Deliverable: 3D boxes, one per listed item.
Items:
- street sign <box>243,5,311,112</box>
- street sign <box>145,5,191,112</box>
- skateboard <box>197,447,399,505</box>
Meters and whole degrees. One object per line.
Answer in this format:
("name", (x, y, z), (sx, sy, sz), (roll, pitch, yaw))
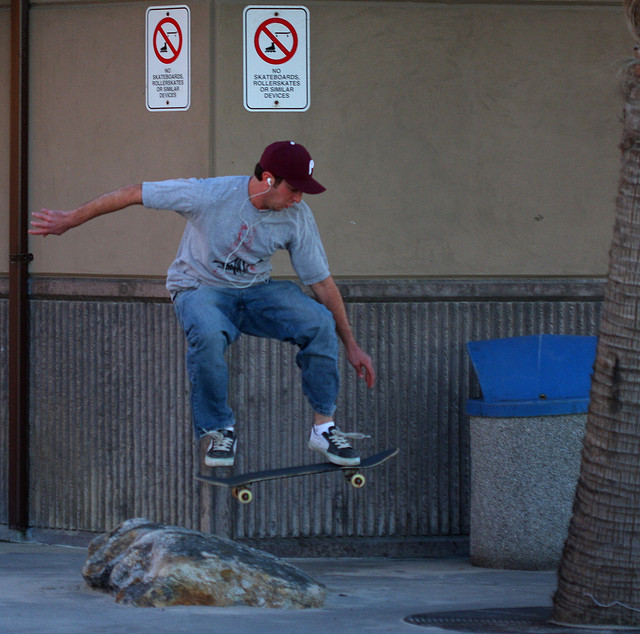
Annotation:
("street sign", (-0.287, -1.688, 11.464), (0.432, 0.686, 0.053), (2, 3, -5))
("street sign", (-0.993, -1.699, 11.576), (0.309, 0.684, 0.043), (3, 3, 19))
("skateboard", (-0.203, 1.016, 11.363), (1.385, 0.212, 0.282), (-7, 4, -14))
